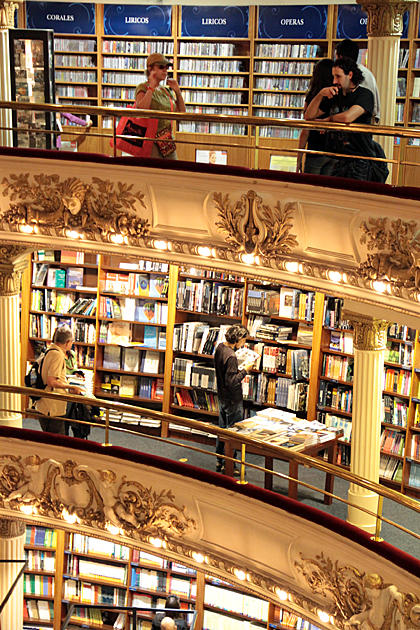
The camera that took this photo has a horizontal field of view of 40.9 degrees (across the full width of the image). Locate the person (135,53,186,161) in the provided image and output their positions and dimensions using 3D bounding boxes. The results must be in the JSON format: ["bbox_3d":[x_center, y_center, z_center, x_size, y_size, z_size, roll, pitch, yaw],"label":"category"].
[{"bbox_3d":[-0.383,-1.603,4.365,0.375,0.791,0.755,0,11,-5],"label":"person"}]

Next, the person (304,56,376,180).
[{"bbox_3d":[0.724,-1.125,3.301,0.426,0.631,0.721,5,12,24],"label":"person"}]

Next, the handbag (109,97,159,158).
[{"bbox_3d":[-0.564,-1.438,4.366,0.382,0.379,0.128,21,17,0],"label":"handbag"}]

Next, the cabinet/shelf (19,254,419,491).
[{"bbox_3d":[-0.341,0.331,7.271,4.566,2.157,0.603,6,12,29],"label":"cabinet/shelf"}]

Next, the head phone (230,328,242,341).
[{"bbox_3d":[0.252,0.191,5.414,0.106,0.128,0.137,-2,-7,9],"label":"head phone"}]

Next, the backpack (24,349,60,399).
[{"bbox_3d":[-1.521,0.555,5.128,0.245,0.607,0.743,-3,11,-18],"label":"backpack"}]
